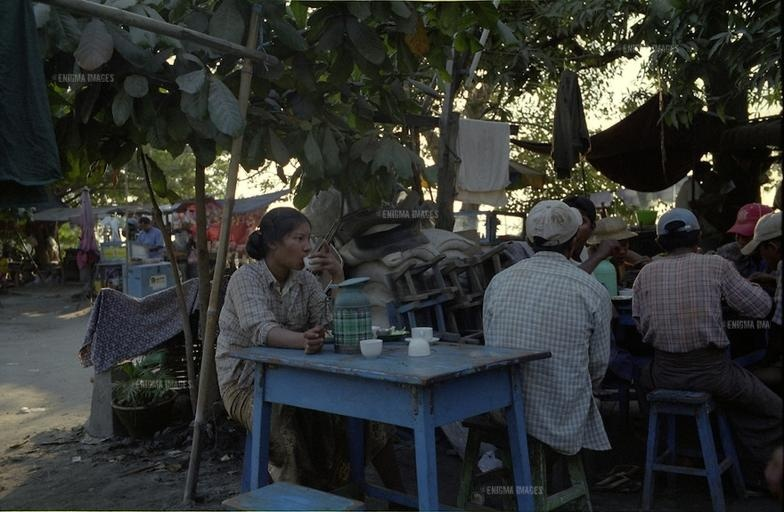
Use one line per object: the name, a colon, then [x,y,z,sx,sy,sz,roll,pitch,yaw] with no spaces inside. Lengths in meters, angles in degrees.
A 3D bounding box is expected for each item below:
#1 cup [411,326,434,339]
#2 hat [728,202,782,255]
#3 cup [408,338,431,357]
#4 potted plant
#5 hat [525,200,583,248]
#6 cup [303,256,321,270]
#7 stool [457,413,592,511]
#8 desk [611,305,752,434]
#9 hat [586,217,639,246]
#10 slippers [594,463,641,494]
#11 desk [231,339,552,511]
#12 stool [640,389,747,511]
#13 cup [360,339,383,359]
cup: [0.227,0.602,4.660,0.117,0.069,0.120,1,-1,0]
hat: [4.196,-0.390,6.882,0.606,0.298,0.370,-24,8,-21]
cup: [0.199,0.665,4.339,0.132,0.087,0.134,-2,8,0]
potted plant: [-3.028,1.571,6.939,0.725,0.884,0.653,2,-2,43]
hat: [1.316,-0.321,4.862,0.397,0.295,0.539,11,42,30]
cup: [-0.676,0.053,4.994,0.130,0.122,0.125,-7,12,1]
stool: [1.139,1.699,4.941,0.879,0.801,0.903,-10,-6,36]
desk: [2.732,1.158,5.940,1.396,1.280,1.121,0,10,41]
hat: [2.862,-0.316,7.643,0.538,0.202,0.507,-9,3,25]
slippers: [2.186,2.130,5.660,0.311,0.089,0.233,-9,-2,-11]
desk: [0.058,1.000,4.498,2.002,1.457,1.363,-2,-1,42]
stool: [2.874,1.629,5.585,0.983,1.341,1.077,-2,2,34]
cup: [-0.138,0.673,4.298,0.137,0.083,0.131,-4,-1,0]
